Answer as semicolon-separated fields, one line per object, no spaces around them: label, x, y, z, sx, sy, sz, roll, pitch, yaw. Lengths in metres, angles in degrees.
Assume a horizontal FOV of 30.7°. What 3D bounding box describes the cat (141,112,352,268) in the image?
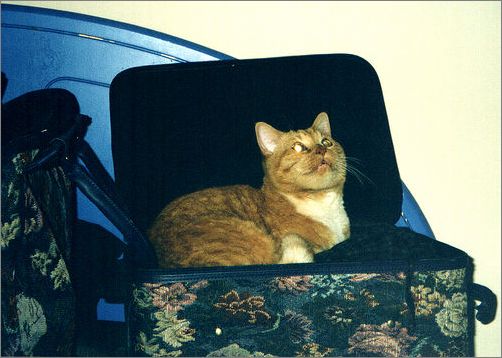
cat;-0.001;0.049;4.172;0.809;0.576;0.560;-5;6;8
